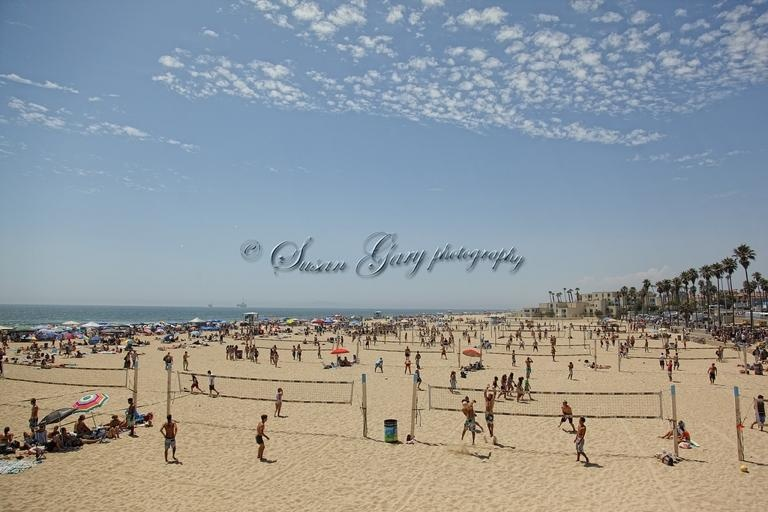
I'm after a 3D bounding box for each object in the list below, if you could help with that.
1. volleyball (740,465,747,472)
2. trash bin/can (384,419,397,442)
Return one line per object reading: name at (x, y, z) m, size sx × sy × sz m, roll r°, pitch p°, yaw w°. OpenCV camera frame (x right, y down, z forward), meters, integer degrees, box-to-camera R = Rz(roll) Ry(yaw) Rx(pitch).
volleyball at (13.866, 8.162, 18.114) m, size 0.188 × 0.177 × 0.231 m, roll -29°, pitch -12°, yaw -7°
trash bin/can at (0.301, 7.706, 20.763) m, size 0.603 × 0.897 × 0.397 m, roll 1°, pitch -9°, yaw 2°
